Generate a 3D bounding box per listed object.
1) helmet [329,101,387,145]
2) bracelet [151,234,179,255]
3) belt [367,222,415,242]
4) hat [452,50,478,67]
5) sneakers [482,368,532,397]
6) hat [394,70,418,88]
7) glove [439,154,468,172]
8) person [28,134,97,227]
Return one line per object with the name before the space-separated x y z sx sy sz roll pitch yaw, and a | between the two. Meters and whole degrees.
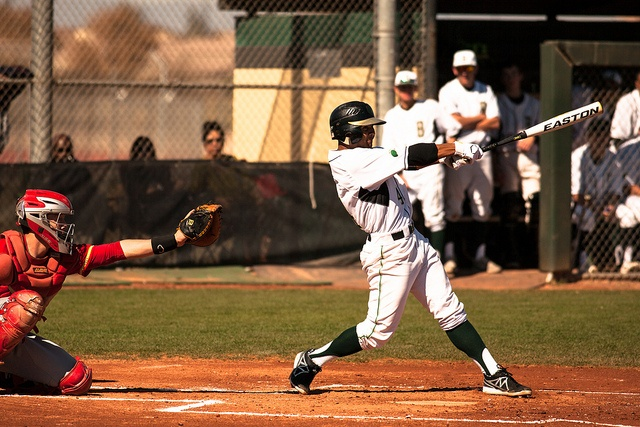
helmet | 0.392 -0.931 10.872 0.627 0.451 0.469 -3 12 24
bracelet | -1.562 0.301 10.663 0.253 0.183 0.152 -3 15 -10
belt | 0.713 0.194 10.663 0.471 0.183 0.191 1 15 5
hat | 1.927 -2.041 14.114 0.288 0.215 0.258 1 15 5
sneakers | 1.869 1.663 10.637 0.556 0.264 0.195 -2 -3 40
hat | 1.130 -1.744 13.869 0.274 0.211 0.231 0 14 0
glove | 1.367 -0.496 10.678 0.218 0.092 0.153 -13 19 -39
person | -3.272 -0.417 13.466 0.835 1.187 0.308 1 5 -22
